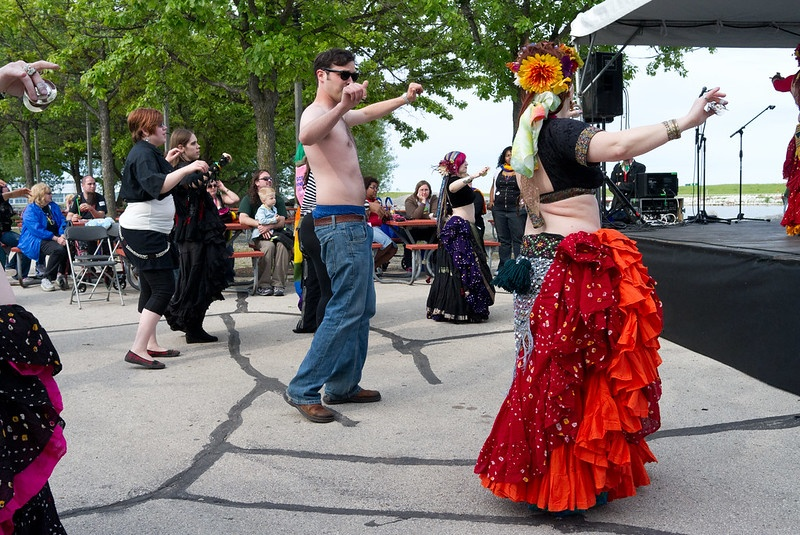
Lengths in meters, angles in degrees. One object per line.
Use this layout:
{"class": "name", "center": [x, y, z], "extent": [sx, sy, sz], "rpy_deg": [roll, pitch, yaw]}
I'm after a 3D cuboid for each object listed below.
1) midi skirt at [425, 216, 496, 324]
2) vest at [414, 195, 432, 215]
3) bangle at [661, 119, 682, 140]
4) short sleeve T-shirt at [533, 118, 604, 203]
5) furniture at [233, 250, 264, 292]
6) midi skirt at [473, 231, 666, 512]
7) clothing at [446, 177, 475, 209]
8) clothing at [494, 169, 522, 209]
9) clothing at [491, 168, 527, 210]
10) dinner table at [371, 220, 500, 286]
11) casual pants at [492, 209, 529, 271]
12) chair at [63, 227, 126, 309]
{"class": "midi skirt", "center": [0.746, 0.024, 8.424], "extent": [0.879, 1.177, 0.986], "rpy_deg": [6, 5, 11]}
{"class": "vest", "center": [0.451, -1.084, 12.414], "extent": [0.370, 0.443, 0.261], "rpy_deg": [2, -10, -18]}
{"class": "bangle", "center": [1.507, -0.752, 3.785], "extent": [0.095, 0.116, 0.140], "rpy_deg": [-1, 4, 6]}
{"class": "short sleeve T-shirt", "center": [1.017, -0.590, 4.236], "extent": [0.327, 0.502, 0.553], "rpy_deg": [-8, 2, -31]}
{"class": "furniture", "center": [-2.594, 0.070, 11.872], "extent": [0.490, 0.370, 0.454], "rpy_deg": [-5, 21, 32]}
{"class": "midi skirt", "center": [1.046, 0.502, 4.867], "extent": [1.519, 2.080, 1.477], "rpy_deg": [1, 8, 21]}
{"class": "clothing", "center": [0.717, -0.879, 8.280], "extent": [0.403, 0.367, 0.282], "rpy_deg": [-5, 19, -4]}
{"class": "clothing", "center": [1.672, -1.188, 10.526], "extent": [0.475, 0.638, 0.390], "rpy_deg": [3, -12, 6]}
{"class": "clothing", "center": [1.667, -1.195, 10.513], "extent": [0.463, 0.602, 0.390], "rpy_deg": [3, -14, -5]}
{"class": "dinner table", "center": [0.627, -0.204, 11.114], "extent": [1.419, 0.646, 1.364], "rpy_deg": [0, 2, -6]}
{"class": "casual pants", "center": [1.683, -0.526, 10.709], "extent": [0.434, 0.912, 0.265], "rpy_deg": [0, 22, 11]}
{"class": "chair", "center": [-4.641, 0.030, 10.439], "extent": [0.735, 1.120, 0.916], "rpy_deg": [-9, -9, -18]}
